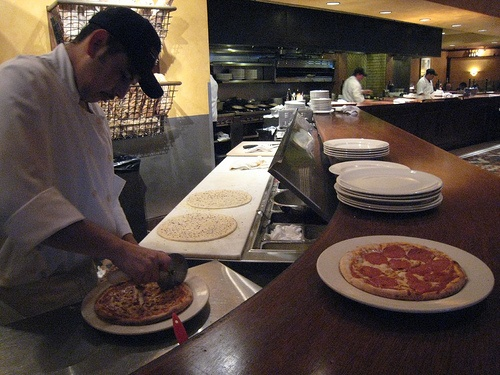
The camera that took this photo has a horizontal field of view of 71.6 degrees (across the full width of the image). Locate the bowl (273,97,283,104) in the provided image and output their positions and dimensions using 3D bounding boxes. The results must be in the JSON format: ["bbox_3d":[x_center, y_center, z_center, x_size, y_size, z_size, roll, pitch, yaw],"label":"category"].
[{"bbox_3d":[0.576,-1.794,7.086,0.136,0.083,0.136,0,18,0],"label":"bowl"}]

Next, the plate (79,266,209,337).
[{"bbox_3d":[-0.314,0.340,1.034,0.373,0.047,0.303,3,14,-5],"label":"plate"}]

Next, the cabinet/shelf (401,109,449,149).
[{"bbox_3d":[4.006,-1.365,7.912,1.453,0.816,0.235,-6,17,-36],"label":"cabinet/shelf"}]

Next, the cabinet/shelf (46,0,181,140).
[{"bbox_3d":[-1.198,-1.031,3.163,1.034,0.543,1.567,2,44,-15],"label":"cabinet/shelf"}]

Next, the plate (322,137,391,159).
[{"bbox_3d":[0.608,-0.231,2.040,0.345,0.115,0.405,6,14,5],"label":"plate"}]

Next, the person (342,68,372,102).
[{"bbox_3d":[2.306,-2.247,7.568,0.379,0.753,0.677,0,14,-16],"label":"person"}]

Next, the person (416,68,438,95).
[{"bbox_3d":[4.603,-2.803,9.065,0.329,0.621,0.741,13,16,32],"label":"person"}]

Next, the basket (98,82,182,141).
[{"bbox_3d":[-1.066,-0.728,3.356,0.538,0.397,0.804,-5,10,-13],"label":"basket"}]

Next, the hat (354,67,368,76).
[{"bbox_3d":[2.412,-2.592,7.690,0.220,0.151,0.314,4,12,7],"label":"hat"}]

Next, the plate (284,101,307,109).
[{"bbox_3d":[0.536,-1.004,4.156,0.221,0.085,0.108,6,14,6],"label":"plate"}]

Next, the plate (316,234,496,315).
[{"bbox_3d":[0.345,0.187,0.813,0.370,0.069,0.317,0,14,-17],"label":"plate"}]

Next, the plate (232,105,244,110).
[{"bbox_3d":[-0.224,-1.517,6.512,0.214,0.075,0.167,2,14,-11],"label":"plate"}]

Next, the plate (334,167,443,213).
[{"bbox_3d":[0.513,0.006,1.289,0.361,0.127,0.327,3,14,-7],"label":"plate"}]

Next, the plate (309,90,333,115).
[{"bbox_3d":[0.831,-1.064,4.235,0.257,0.302,0.293,-3,17,0],"label":"plate"}]
